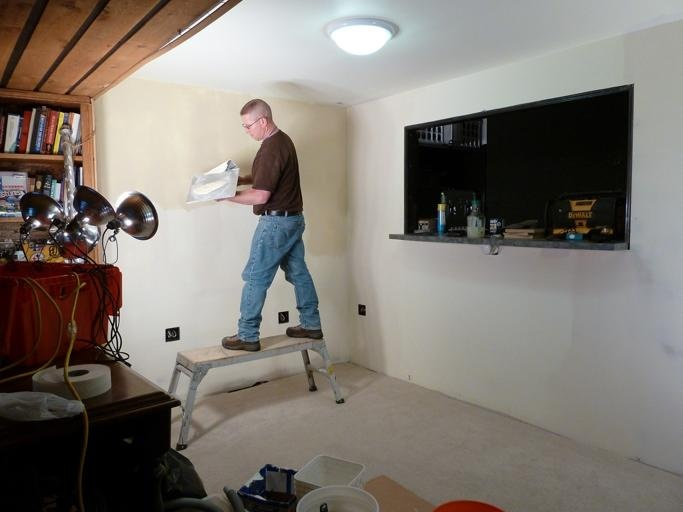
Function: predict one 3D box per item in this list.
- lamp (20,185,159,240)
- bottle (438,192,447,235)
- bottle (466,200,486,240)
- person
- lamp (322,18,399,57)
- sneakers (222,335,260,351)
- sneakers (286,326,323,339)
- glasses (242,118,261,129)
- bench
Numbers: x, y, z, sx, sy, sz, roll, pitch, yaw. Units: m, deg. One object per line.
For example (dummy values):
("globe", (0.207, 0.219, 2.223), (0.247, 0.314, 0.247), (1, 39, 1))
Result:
("lamp", (-1.220, -0.212, 2.321), (0.574, 0.270, 0.368), (-7, 11, -35))
("bottle", (0.782, -0.340, 3.683), (0.066, 0.317, 0.118), (5, 10, 30))
("bottle", (0.974, -0.279, 3.430), (0.112, 0.261, 0.406), (2, 9, 15))
("person", (-0.544, -0.266, 3.531), (0.775, 1.810, 0.506), (-4, 9, -24))
("lamp", (0.126, -1.262, 2.725), (0.428, 0.137, 0.267), (-2, 9, -9))
("sneakers", (-0.723, 0.632, 3.449), (0.267, 0.116, 0.108), (5, 1, 18))
("sneakers", (-0.295, 0.572, 3.726), (0.279, 0.131, 0.103), (6, 4, 26))
("glasses", (-0.659, -0.979, 3.471), (0.083, 0.026, 0.081), (-24, 14, -20))
("bench", (-0.635, 0.908, 3.578), (1.300, 0.566, 0.479), (-3, 11, -35))
